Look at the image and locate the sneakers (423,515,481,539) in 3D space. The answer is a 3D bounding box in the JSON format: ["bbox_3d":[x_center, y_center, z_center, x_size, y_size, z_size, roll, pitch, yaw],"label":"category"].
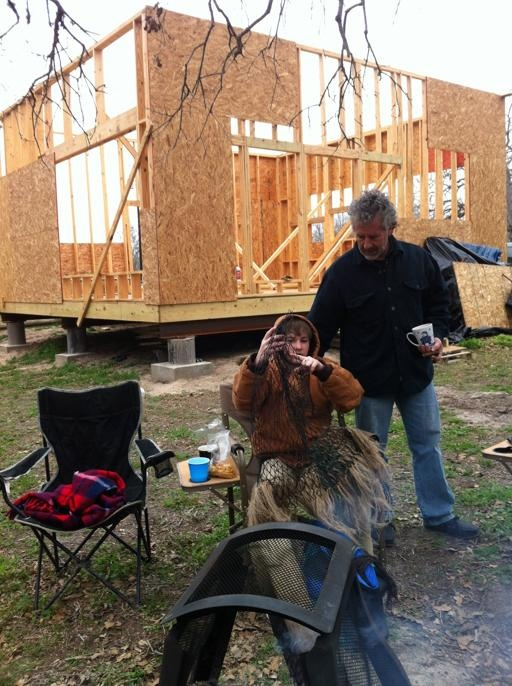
[{"bbox_3d":[1.007,0.931,2.692,0.278,0.123,0.103,-3,-1,29],"label":"sneakers"}]

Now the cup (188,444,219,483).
[{"bbox_3d":[-0.240,0.563,2.426,0.137,0.145,0.098,1,-1,-2],"label":"cup"}]

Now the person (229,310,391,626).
[{"bbox_3d":[0.214,0.313,1.955,0.582,0.967,0.410,-3,0,-2],"label":"person"}]
